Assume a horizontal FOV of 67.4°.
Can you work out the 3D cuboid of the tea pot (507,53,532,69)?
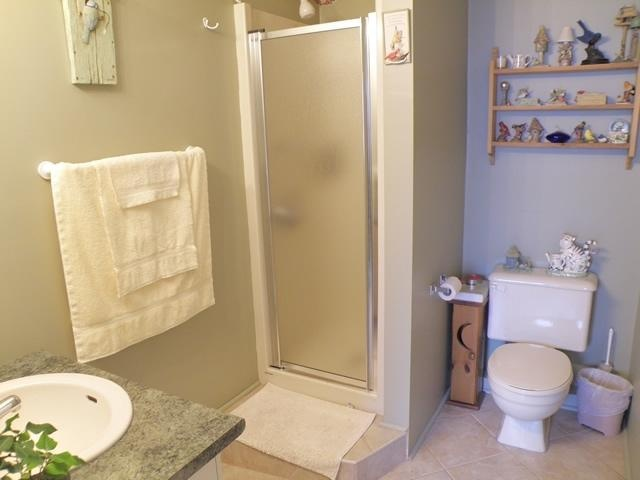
[{"bbox_3d":[1.130,-1.015,2.733,0.125,0.077,0.083,1,8,3],"label":"tea pot"}]

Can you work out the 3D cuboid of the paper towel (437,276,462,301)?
[{"bbox_3d":[0.759,0.280,2.806,0.111,0.117,0.216,7,21,25],"label":"paper towel"}]

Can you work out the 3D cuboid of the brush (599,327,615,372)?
[{"bbox_3d":[1.703,0.657,2.831,0.063,0.280,0.117,13,23,37],"label":"brush"}]

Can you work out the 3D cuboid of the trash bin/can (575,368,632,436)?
[{"bbox_3d":[1.633,0.937,2.758,0.287,0.361,0.231,8,13,41],"label":"trash bin/can"}]

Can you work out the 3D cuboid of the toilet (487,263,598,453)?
[{"bbox_3d":[1.248,0.695,2.786,0.522,0.919,0.830,5,19,30],"label":"toilet"}]

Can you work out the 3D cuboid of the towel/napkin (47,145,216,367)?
[{"bbox_3d":[-0.855,0.054,2.117,0.161,0.911,0.868,9,18,30],"label":"towel/napkin"}]

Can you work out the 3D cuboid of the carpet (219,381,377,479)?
[{"bbox_3d":[-0.138,1.032,2.671,0.635,0.103,0.460,5,20,35],"label":"carpet"}]

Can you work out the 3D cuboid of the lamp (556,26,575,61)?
[{"bbox_3d":[1.362,-1.073,2.652,0.098,0.209,0.099,1,20,28],"label":"lamp"}]

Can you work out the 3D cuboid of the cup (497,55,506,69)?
[{"bbox_3d":[1.036,-1.015,2.742,0.057,0.067,0.060,-1,9,0],"label":"cup"}]
